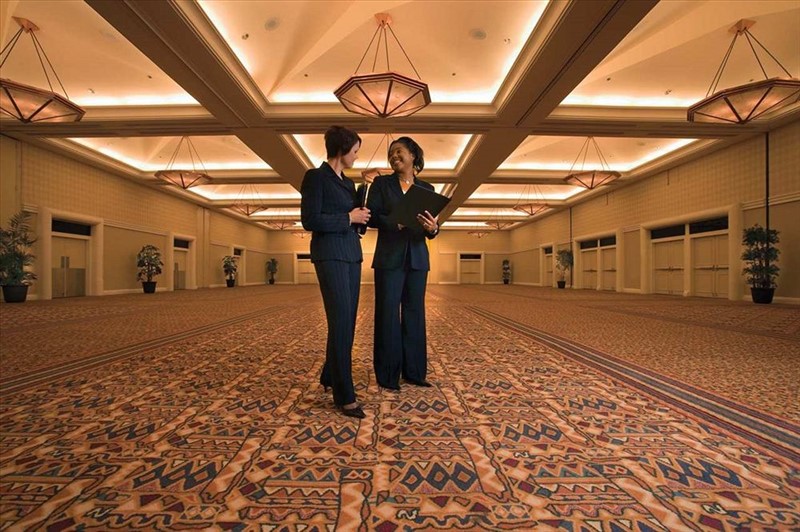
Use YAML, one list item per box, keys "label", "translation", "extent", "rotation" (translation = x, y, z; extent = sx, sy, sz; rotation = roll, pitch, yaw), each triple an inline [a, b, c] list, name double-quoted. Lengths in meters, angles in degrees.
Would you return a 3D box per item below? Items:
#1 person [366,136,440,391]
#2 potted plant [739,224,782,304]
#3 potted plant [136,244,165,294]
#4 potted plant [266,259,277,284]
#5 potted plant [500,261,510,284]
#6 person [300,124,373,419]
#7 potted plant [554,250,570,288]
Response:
- label: "person"
  translation: [0.024, -0.034, 5.031]
  extent: [0.754, 2.863, 0.447]
  rotation: [0, -1, -4]
- label: "potted plant"
  translation: [9.781, -0.021, 11.992]
  extent: [0.784, 2.066, 0.979]
  rotation: [-2, -2, 39]
- label: "potted plant"
  translation: [-9.880, 0.108, 17.501]
  extent: [0.848, 1.942, 1.672]
  rotation: [0, -2, -29]
- label: "potted plant"
  translation: [-8.962, 0.435, 31.080]
  extent: [0.704, 1.704, 1.255]
  rotation: [0, -1, -17]
- label: "potted plant"
  translation: [7.626, 0.448, 31.901]
  extent: [0.367, 1.626, 0.921]
  rotation: [1, -2, -38]
- label: "person"
  translation: [-0.676, 0.014, 4.688]
  extent: [0.706, 3.027, 0.477]
  rotation: [0, -1, -4]
- label: "potted plant"
  translation: [8.509, 0.201, 23.047]
  extent: [0.794, 1.912, 2.206]
  rotation: [-1, -1, 18]
